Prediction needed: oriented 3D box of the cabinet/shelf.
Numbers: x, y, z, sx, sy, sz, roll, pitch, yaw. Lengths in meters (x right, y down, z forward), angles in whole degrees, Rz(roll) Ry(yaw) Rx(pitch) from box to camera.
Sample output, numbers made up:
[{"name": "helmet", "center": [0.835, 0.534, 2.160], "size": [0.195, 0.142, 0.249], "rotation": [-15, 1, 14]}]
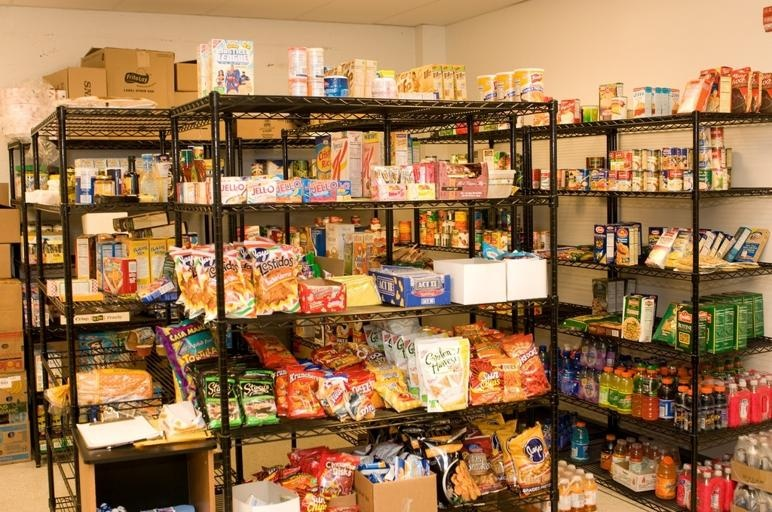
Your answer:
[{"name": "cabinet/shelf", "center": [0.125, 0.330, 4.244], "size": [3.940, 1.977, 1.921], "rotation": [-2, 5, -20]}]
